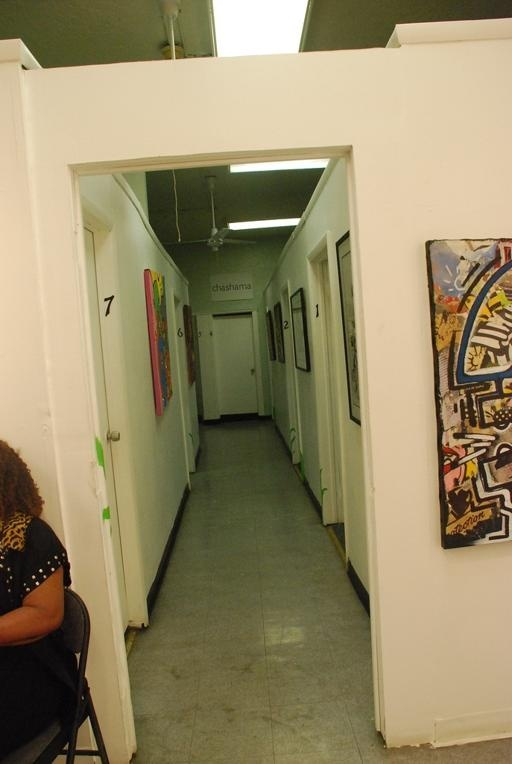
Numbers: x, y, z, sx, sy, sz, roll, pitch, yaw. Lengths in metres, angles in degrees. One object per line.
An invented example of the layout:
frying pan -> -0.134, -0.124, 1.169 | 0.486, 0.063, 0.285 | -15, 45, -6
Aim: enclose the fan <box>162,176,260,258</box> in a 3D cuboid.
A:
fan -> -0.522, -2.043, 7.166 | 0.800, 0.800, 0.602 | 17, 26, 40
